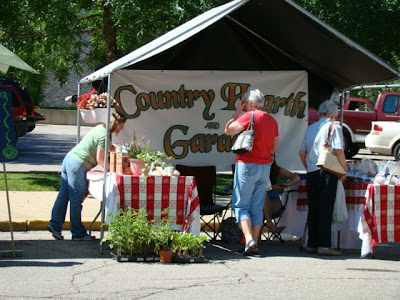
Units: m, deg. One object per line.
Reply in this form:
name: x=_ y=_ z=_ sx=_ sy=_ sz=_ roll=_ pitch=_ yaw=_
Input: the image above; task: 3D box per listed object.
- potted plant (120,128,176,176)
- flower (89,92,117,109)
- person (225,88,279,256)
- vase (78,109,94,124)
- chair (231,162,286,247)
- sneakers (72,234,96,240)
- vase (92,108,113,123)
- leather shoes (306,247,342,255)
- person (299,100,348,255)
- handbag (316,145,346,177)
potted plant: x=-0.893 y=0.068 z=11.055 sx=0.891 sy=0.691 sz=0.650 roll=5 pitch=-4 yaw=4
flower: x=-1.596 y=-0.803 z=11.185 sx=0.503 sy=0.291 sz=0.402 roll=2 pitch=0 yaw=38
person: x=0.842 y=0.354 z=11.091 sx=0.930 sy=2.773 sz=0.889 roll=8 pitch=-8 yaw=-36
vase: x=-1.924 y=-0.552 z=11.316 sx=0.254 sy=0.178 sz=0.253 roll=-1 pitch=-2 yaw=0
chair: x=0.835 y=0.831 z=11.025 sx=0.605 sy=1.375 sz=0.433 roll=7 pitch=-7 yaw=-31
sneakers: x=-2.002 y=1.512 z=11.443 sx=0.377 sy=0.159 sz=0.136 roll=5 pitch=-5 yaw=-22
vase: x=-1.658 y=-0.576 z=11.020 sx=0.280 sy=0.193 sz=0.278 roll=0 pitch=-4 yaw=-2
leather shoes: x=2.051 y=1.687 z=11.105 sx=0.565 sy=0.207 sz=0.206 roll=2 pitch=-2 yaw=-2
person: x=2.124 y=0.480 z=11.223 sx=0.621 sy=2.599 sz=0.875 roll=-2 pitch=6 yaw=-28
handbag: x=2.139 y=0.193 z=10.863 sx=0.347 sy=0.399 sz=0.156 roll=30 pitch=-9 yaw=-5
